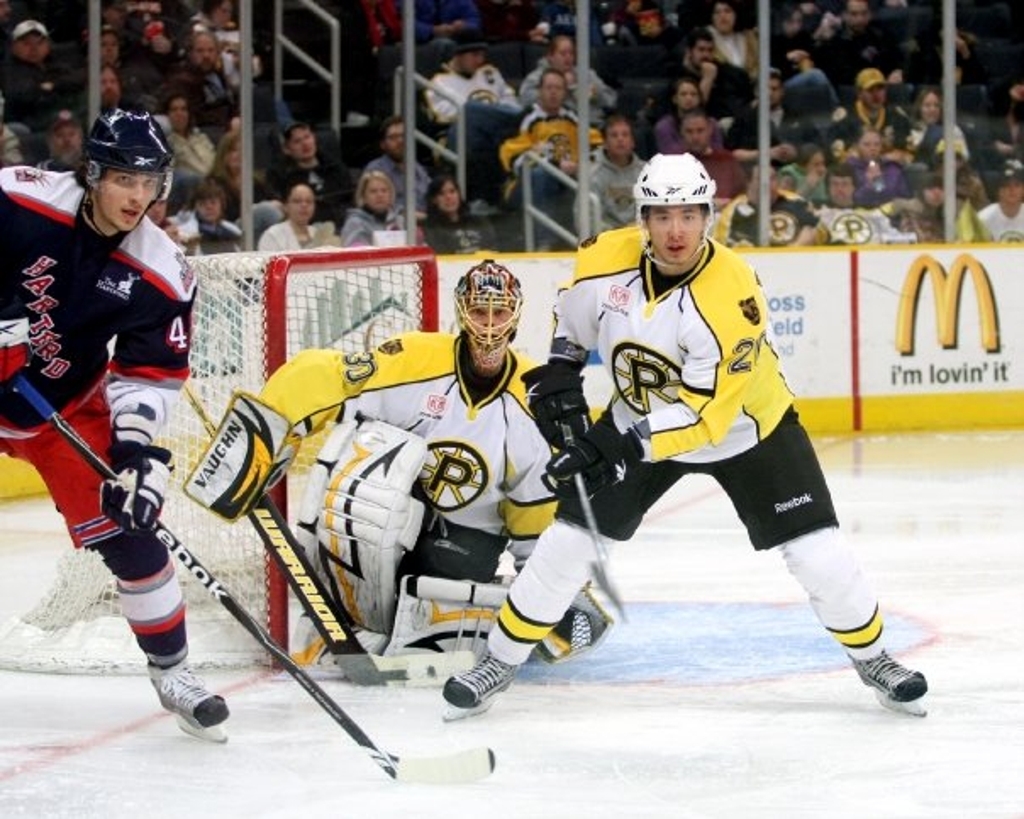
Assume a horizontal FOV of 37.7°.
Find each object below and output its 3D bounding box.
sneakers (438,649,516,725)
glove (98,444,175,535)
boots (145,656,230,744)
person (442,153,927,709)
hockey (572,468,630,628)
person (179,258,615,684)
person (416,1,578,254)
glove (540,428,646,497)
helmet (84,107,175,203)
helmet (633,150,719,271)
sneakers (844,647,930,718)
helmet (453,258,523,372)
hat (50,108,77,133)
[{"bbox_3d":[-0.082,0.769,4.279,0.105,0.129,0.317,13,6,28],"label":"sneakers"},{"bbox_3d":[-0.987,0.194,3.916,0.159,0.217,0.155,-2,11,-7],"label":"glove"},{"bbox_3d":[-0.880,0.762,4.106,0.146,0.112,0.338,41,-6,-34],"label":"boots"},{"bbox_3d":[0.456,0.091,4.256,1.481,1.520,0.871,0,9,1],"label":"person"},{"bbox_3d":[0.239,0.345,4.159,0.096,0.514,0.083,-3,-23,-36],"label":"hockey"},{"bbox_3d":[-0.258,0.247,4.692,1.426,1.342,0.725,13,22,12],"label":"person"},{"bbox_3d":[-0.308,-1.434,8.197,0.963,1.537,0.896,-9,28,-26],"label":"person"},{"bbox_3d":[0.232,0.145,4.113,0.265,0.215,0.186,0,11,1],"label":"glove"},{"bbox_3d":[-1.014,-0.652,3.913,0.230,0.256,0.266,-5,27,-38],"label":"helmet"},{"bbox_3d":[0.457,-0.538,4.161,0.209,0.330,0.210,0,11,4],"label":"helmet"},{"bbox_3d":[1.071,0.759,4.253,0.095,0.106,0.271,-38,24,-11],"label":"sneakers"},{"bbox_3d":[-0.065,-0.266,4.568,0.235,0.322,0.347,4,-8,-4],"label":"helmet"},{"bbox_3d":[-2.348,-1.507,7.828,0.119,0.121,0.043,1,-11,-7],"label":"hat"}]
